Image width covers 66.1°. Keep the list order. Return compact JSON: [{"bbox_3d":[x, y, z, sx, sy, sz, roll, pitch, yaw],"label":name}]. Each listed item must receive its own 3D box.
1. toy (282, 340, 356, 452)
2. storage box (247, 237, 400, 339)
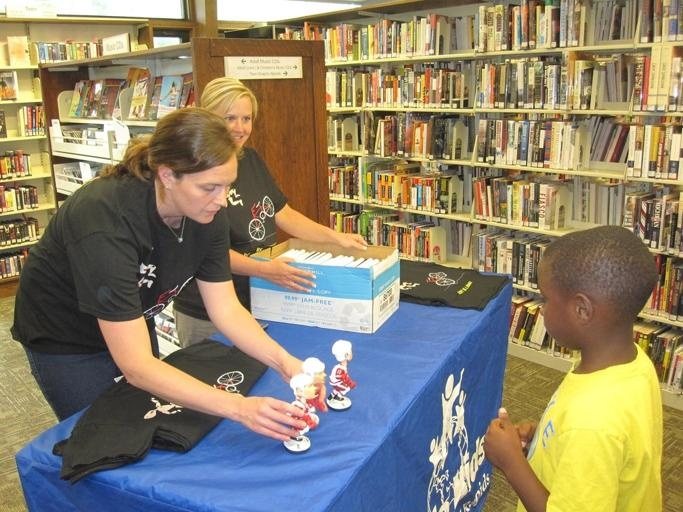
[{"bbox_3d":[-0.061,0.402,1.470,0.104,0.154,0.227,4,14,22],"label":"toy"},{"bbox_3d":[0.017,0.120,2.047,0.509,0.247,0.355,6,13,25],"label":"storage box"}]
